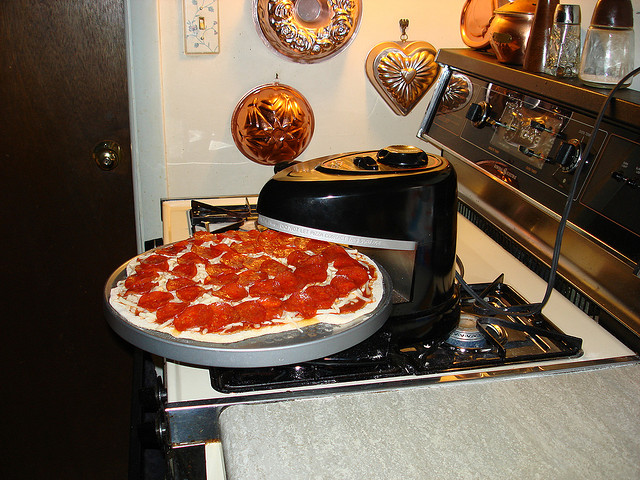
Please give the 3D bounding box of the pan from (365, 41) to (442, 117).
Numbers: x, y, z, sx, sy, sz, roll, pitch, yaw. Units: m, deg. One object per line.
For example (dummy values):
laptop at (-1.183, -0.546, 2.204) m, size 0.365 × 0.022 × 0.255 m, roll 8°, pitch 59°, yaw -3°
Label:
pan at (0.267, -0.512, 1.472) m, size 0.266 × 0.214 × 0.042 m, roll -9°, pitch 22°, yaw -18°

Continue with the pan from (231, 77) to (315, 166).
pan at (-0.144, -0.348, 1.466) m, size 0.286 × 0.294 × 0.047 m, roll -16°, pitch 35°, yaw -22°

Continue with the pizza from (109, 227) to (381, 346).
pizza at (-0.132, 0.062, 0.884) m, size 0.433 × 0.035 × 0.447 m, roll 7°, pitch 29°, yaw 16°
